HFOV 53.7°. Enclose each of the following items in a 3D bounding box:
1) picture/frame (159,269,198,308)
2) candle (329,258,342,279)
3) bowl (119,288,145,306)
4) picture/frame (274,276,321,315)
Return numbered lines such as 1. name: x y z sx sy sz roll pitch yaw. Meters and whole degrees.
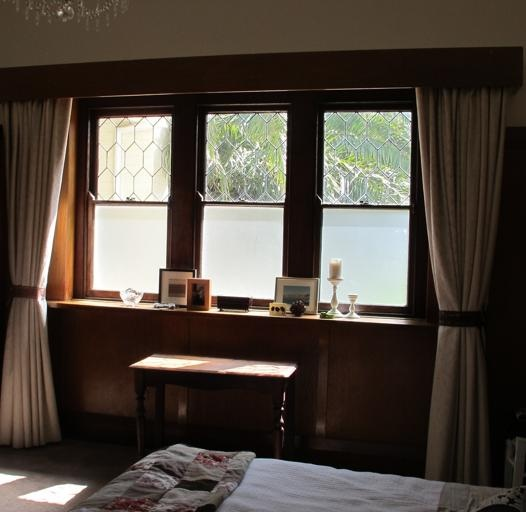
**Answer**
1. picture/frame: -0.603 0.233 3.719 0.189 0.259 0.021 -3 -3 2
2. candle: 0.480 0.081 3.485 0.091 0.214 0.101 0 -10 8
3. bowl: -0.964 0.293 3.803 0.145 0.120 0.104 0 7 -7
4. picture/frame: 0.234 0.262 3.607 0.306 0.239 0.152 2 7 6
